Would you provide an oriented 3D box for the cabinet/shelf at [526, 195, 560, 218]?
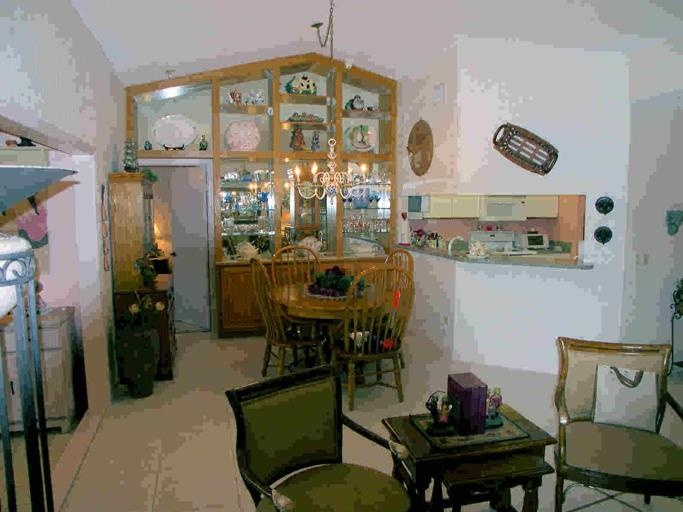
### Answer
[{"bbox_3d":[2.501,-0.628,6.977,0.408,0.316,0.286,1,-14,4],"label":"cabinet/shelf"}]

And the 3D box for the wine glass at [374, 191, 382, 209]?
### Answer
[{"bbox_3d":[0.445,-0.700,6.980,0.131,0.219,0.133,-3,13,-5],"label":"wine glass"}]

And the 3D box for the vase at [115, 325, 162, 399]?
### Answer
[{"bbox_3d":[-1.795,0.910,4.907,0.321,0.616,0.141,2,-5,-9],"label":"vase"}]

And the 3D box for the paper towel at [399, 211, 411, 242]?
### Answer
[{"bbox_3d":[0.799,-0.369,6.977,0.149,0.387,0.080,2,14,10],"label":"paper towel"}]

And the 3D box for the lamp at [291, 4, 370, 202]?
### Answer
[{"bbox_3d":[-0.163,-1.743,6.315,0.852,2.108,0.869,21,31,40],"label":"lamp"}]

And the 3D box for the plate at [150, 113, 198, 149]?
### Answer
[{"bbox_3d":[-1.897,-1.429,6.370,0.478,0.376,0.142,-1,14,1],"label":"plate"}]
